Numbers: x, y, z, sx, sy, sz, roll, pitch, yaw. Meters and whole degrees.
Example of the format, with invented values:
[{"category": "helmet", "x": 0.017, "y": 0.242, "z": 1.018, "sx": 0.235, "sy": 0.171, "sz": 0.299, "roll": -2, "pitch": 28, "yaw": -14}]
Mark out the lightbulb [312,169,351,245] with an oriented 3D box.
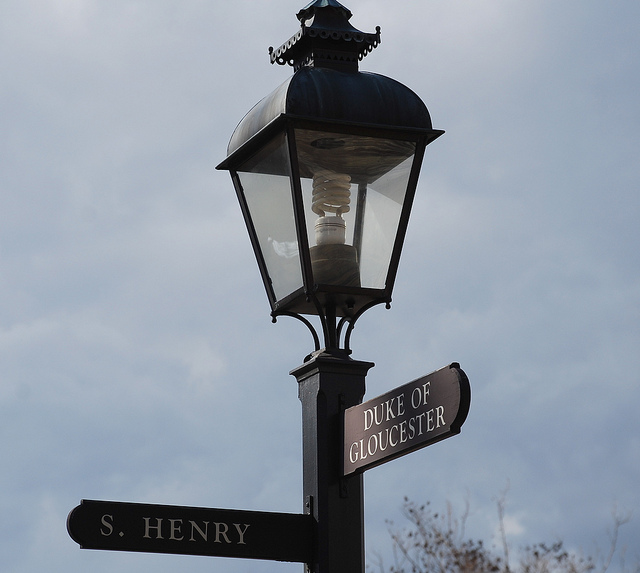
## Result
[{"category": "lightbulb", "x": 0.042, "y": -0.327, "z": 7.933, "sx": 0.147, "sy": 0.256, "sz": 0.174, "roll": 3, "pitch": -38, "yaw": -1}]
